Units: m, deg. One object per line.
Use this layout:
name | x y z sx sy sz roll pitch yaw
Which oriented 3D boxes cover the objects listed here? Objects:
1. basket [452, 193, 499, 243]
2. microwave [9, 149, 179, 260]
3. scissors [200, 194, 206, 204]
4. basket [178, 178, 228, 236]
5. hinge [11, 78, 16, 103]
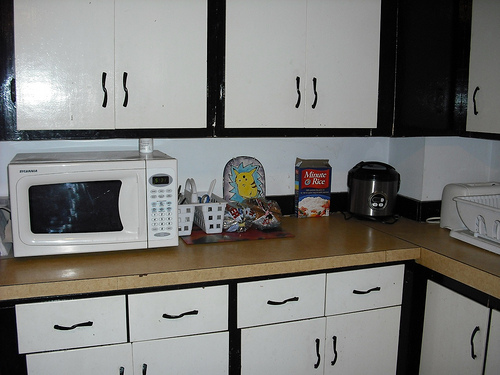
basket | 1.143 0.131 2.165 0.211 0.166 0.358 8 16 28
microwave | -0.716 0.102 1.991 0.621 0.431 0.453 -2 6 -15
scissors | -0.247 0.061 2.210 0.014 0.036 0.025 24 11 20
basket | -0.256 0.084 2.214 0.246 0.262 0.254 -2 13 -11
hinge | -1.022 -0.417 1.837 0.023 0.098 0.008 -4 13 -21
